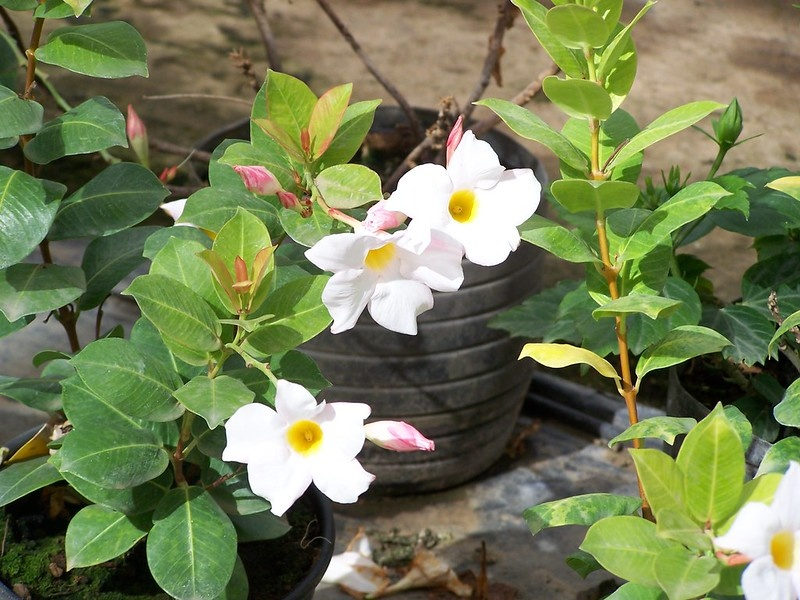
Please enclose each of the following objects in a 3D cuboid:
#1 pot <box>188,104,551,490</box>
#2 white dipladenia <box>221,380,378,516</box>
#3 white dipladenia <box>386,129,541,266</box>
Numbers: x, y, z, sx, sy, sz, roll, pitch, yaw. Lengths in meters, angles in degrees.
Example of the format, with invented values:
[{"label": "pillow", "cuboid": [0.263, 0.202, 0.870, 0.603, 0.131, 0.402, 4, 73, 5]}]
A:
[{"label": "pot", "cuboid": [-0.031, -0.040, 2.862, 0.932, 0.839, 1.095, -2, 26, -3]}, {"label": "white dipladenia", "cuboid": [-0.168, 0.243, 1.489, 0.247, 0.087, 0.242, 17, 51, -23]}, {"label": "white dipladenia", "cuboid": [0.120, -0.179, 1.551, 0.224, 0.240, 0.076, -1, 86, -42]}]
